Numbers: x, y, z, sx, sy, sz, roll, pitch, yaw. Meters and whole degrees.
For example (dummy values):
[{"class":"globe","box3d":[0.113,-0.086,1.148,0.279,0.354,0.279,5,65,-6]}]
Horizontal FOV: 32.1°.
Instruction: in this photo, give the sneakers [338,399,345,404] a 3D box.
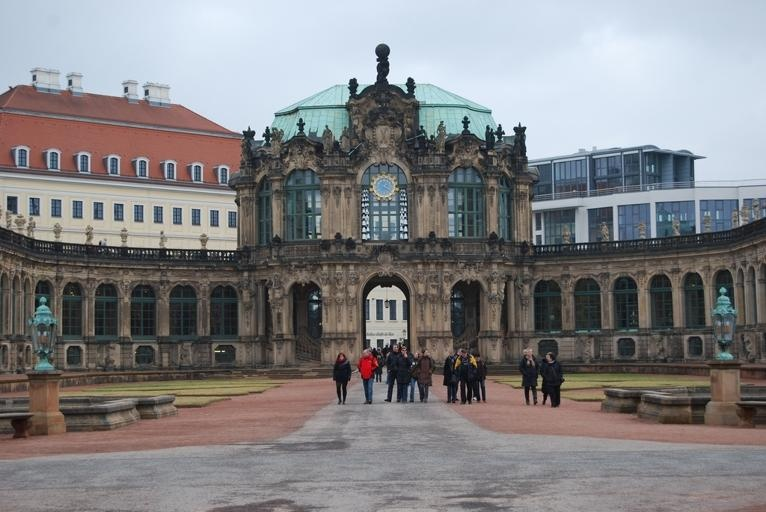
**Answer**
[{"class":"sneakers","box3d":[-1.932,6.789,61.731,0.376,0.244,0.145,1,-5,29]}]

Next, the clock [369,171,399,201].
[{"class":"clock","box3d":[0.067,-5.003,96.162,2.252,2.251,0.220,0,-3,-2]}]
